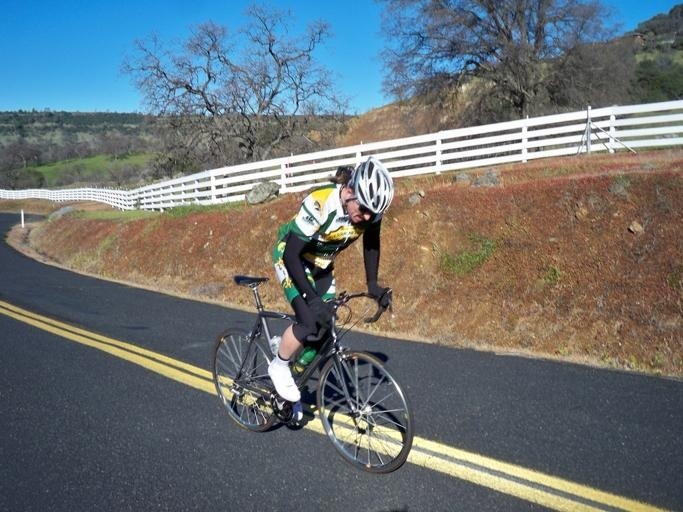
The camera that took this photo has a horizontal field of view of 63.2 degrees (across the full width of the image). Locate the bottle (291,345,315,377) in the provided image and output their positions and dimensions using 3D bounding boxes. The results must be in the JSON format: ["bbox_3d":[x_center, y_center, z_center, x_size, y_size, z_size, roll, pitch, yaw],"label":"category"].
[{"bbox_3d":[-0.463,1.276,6.723,0.498,0.130,0.164,-61,20,20],"label":"bottle"}]

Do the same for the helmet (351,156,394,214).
[{"bbox_3d":[0.349,-0.674,6.218,0.451,0.739,0.443,-11,25,1],"label":"helmet"}]

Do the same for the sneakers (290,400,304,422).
[{"bbox_3d":[-0.559,1.928,6.923,0.157,0.107,0.238,1,2,-25],"label":"sneakers"}]
